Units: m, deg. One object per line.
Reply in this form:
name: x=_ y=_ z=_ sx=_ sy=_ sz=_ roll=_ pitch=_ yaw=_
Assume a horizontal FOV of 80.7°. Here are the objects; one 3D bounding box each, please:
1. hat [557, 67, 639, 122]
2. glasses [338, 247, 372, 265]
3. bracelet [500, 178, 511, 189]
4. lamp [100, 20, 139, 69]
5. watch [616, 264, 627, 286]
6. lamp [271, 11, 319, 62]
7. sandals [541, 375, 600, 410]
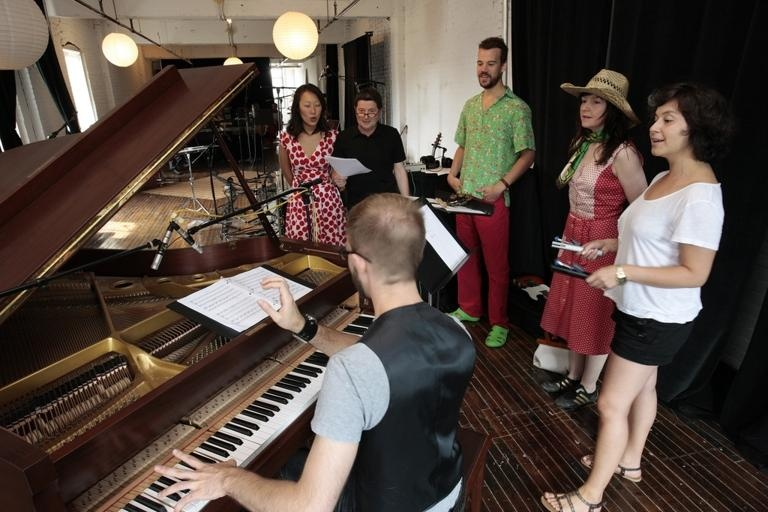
hat: x=1.412 y=-1.154 z=3.011 sx=0.448 sy=0.182 sz=0.387 roll=27 pitch=0 yaw=1
glasses: x=-0.125 y=0.008 z=1.829 sx=0.095 sy=0.030 sz=0.096 roll=25 pitch=13 yaw=14
bracelet: x=1.031 y=-0.627 z=3.873 sx=0.044 sy=0.074 sz=0.069 roll=-37 pitch=25 yaw=-13
lamp: x=-4.406 y=-3.500 z=7.613 sx=0.439 sy=0.487 sz=0.318 roll=-11 pitch=24 yaw=-14
watch: x=1.257 y=0.092 z=2.414 sx=0.050 sy=0.087 sz=0.085 roll=-8 pitch=-15 yaw=31
lamp: x=-1.250 y=-3.144 z=6.409 sx=0.566 sy=0.579 sz=0.304 roll=-13 pitch=24 yaw=-19
sandals: x=1.396 y=1.048 z=3.441 sx=0.310 sy=0.137 sz=0.190 roll=8 pitch=12 yaw=21
